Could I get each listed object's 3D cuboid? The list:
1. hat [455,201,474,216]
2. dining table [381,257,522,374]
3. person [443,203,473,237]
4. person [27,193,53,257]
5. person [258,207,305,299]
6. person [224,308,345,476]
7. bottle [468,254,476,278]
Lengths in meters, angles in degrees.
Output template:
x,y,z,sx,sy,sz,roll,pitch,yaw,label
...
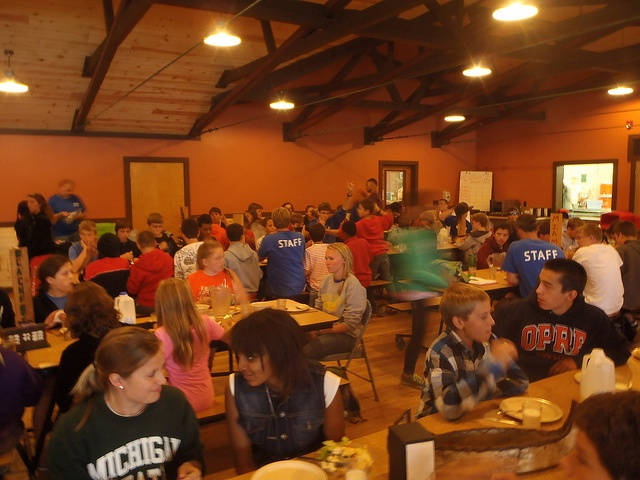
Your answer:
x,y,z,sx,sy,sz,roll,pitch,yaw,label
2.424,-0.568,8.154,0.272,0.142,0.201,-36,17,-25,hat
1.092,0.619,4.074,0.563,0.762,1.117,7,8,42,dining table
2.394,-0.447,8.512,0.468,0.266,0.959,5,-34,16,person
-3.835,-0.201,6.647,0.292,0.893,0.502,-2,3,-28,person
-0.466,0.184,5.905,0.579,1.147,0.395,-1,3,-2,person
-0.155,0.683,2.231,0.524,0.736,0.202,-1,3,-21,person
1.682,0.284,5.373,0.078,0.231,0.154,0,2,14,bottle
